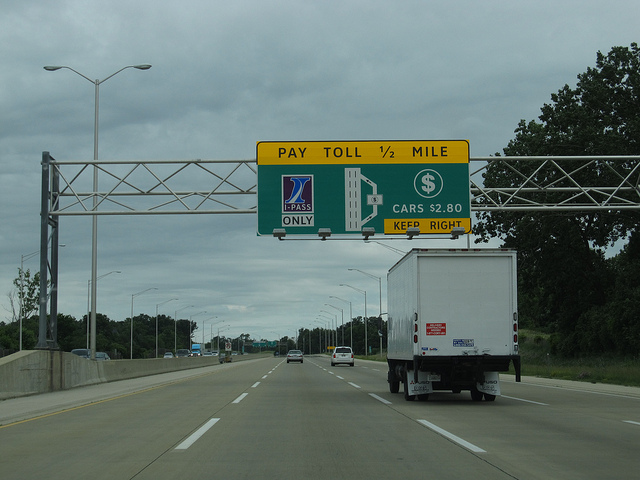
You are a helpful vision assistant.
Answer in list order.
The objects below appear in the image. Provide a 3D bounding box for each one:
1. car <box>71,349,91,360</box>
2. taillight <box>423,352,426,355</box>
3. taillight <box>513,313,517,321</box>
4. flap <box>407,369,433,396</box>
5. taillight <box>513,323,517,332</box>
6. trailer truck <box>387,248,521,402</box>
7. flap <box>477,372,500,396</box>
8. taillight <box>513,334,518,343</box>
[{"bbox_3d":[-15.035,7.169,61.971,0.839,0.726,2.993,2,-13,-13],"label":"car"},{"bbox_3d":[3.626,3.908,33.533,0.076,0.085,0.043,-1,2,2],"label":"taillight"},{"bbox_3d":[6.766,2.671,33.735,0.106,0.250,0.158,0,-10,-2],"label":"taillight"},{"bbox_3d":[3.564,5.011,34.502,0.897,1.029,0.141,0,-5,-2],"label":"flap"},{"bbox_3d":[6.770,3.037,33.739,0.123,0.285,0.134,-7,-12,30],"label":"taillight"},{"bbox_3d":[4.838,3.047,36.157,4.783,6.136,8.367,1,-6,2],"label":"trailer truck"},{"bbox_3d":[6.050,5.147,34.943,0.780,0.750,0.709,-7,-6,6],"label":"flap"},{"bbox_3d":[6.810,3.405,33.739,0.136,0.239,0.051,1,3,-26],"label":"taillight"}]
